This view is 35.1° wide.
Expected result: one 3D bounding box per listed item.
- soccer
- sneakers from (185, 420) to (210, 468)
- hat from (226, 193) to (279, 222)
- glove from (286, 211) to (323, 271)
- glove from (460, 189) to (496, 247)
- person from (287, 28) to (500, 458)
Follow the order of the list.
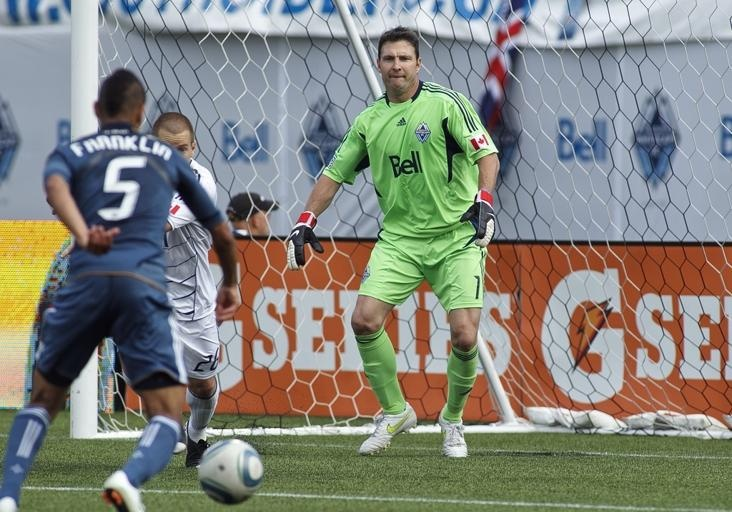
[{"bbox_3d":[-0.811,1.322,7.072,0.319,0.370,0.385,-4,43,13],"label":"soccer"},{"bbox_3d":[-1.232,1.371,8.300,0.146,0.499,0.171,7,-12,-19],"label":"sneakers"},{"bbox_3d":[-1.158,-0.505,11.454,0.391,0.246,0.302,-16,8,-13],"label":"hat"},{"bbox_3d":[-0.428,-0.100,8.558,0.271,0.425,0.109,-7,-27,38],"label":"glove"},{"bbox_3d":[0.822,-0.274,8.332,0.233,0.383,0.126,-15,-11,0],"label":"glove"},{"bbox_3d":[0.355,-0.107,8.634,1.208,3.112,0.546,-1,6,-3],"label":"person"}]
